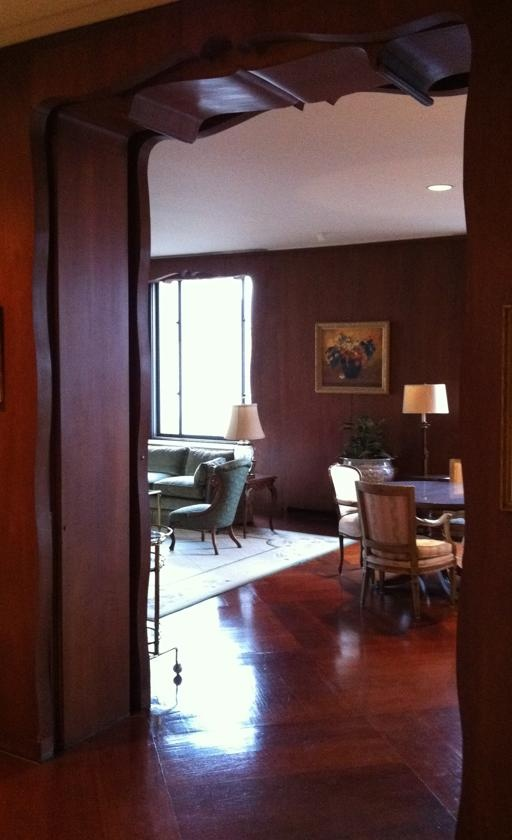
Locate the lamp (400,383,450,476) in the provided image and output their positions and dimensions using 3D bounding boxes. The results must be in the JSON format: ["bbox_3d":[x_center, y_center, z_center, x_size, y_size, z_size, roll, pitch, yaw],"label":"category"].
[{"bbox_3d":[1.776,0.134,7.262,0.448,1.227,0.471,-13,20,-21],"label":"lamp"}]

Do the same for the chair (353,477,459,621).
[{"bbox_3d":[1.073,0.882,5.055,0.634,0.984,0.642,4,10,38],"label":"chair"}]

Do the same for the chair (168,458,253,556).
[{"bbox_3d":[-0.467,0.829,7.013,0.653,0.972,0.758,1,5,-42],"label":"chair"}]

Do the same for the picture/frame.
[{"bbox_3d":[1.213,-0.760,8.451,0.815,0.873,0.082,2,2,32],"label":"picture/frame"}]

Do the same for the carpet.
[{"bbox_3d":[-0.319,1.315,6.604,1.515,0.102,3.004,2,1,35],"label":"carpet"}]

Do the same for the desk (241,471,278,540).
[{"bbox_3d":[0.060,0.978,8.187,0.289,0.498,0.405,3,-5,-7],"label":"desk"}]

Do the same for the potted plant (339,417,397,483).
[{"bbox_3d":[1.256,0.363,7.766,0.677,1.030,0.704,0,-3,-3],"label":"potted plant"}]
